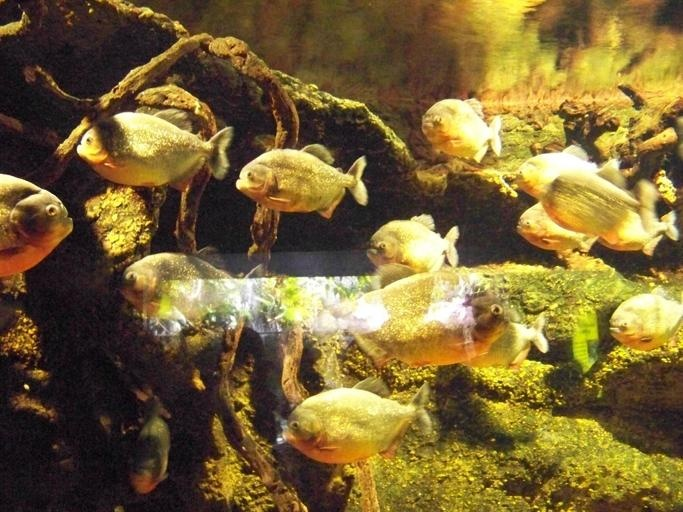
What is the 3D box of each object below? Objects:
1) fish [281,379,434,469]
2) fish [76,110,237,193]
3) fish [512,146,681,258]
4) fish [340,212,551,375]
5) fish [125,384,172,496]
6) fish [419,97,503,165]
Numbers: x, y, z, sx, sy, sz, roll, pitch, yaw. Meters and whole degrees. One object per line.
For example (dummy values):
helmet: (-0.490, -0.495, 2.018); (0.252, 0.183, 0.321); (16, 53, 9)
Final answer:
fish: (0.060, 0.789, 3.558); (0.881, 0.289, 0.476); (-6, 83, -18)
fish: (-0.858, -0.485, 3.385); (0.709, 0.360, 0.208); (-14, 44, -9)
fish: (1.354, -0.236, 3.768); (0.885, 0.517, 0.433); (7, 45, 12)
fish: (0.528, 0.394, 3.706); (0.903, 0.912, 0.687); (3, 44, 9)
fish: (-0.909, 0.888, 3.453); (0.158, 0.227, 0.491); (6, 74, -13)
fish: (0.655, -0.647, 3.715); (0.450, 0.299, 0.230); (2, 2, -34)
